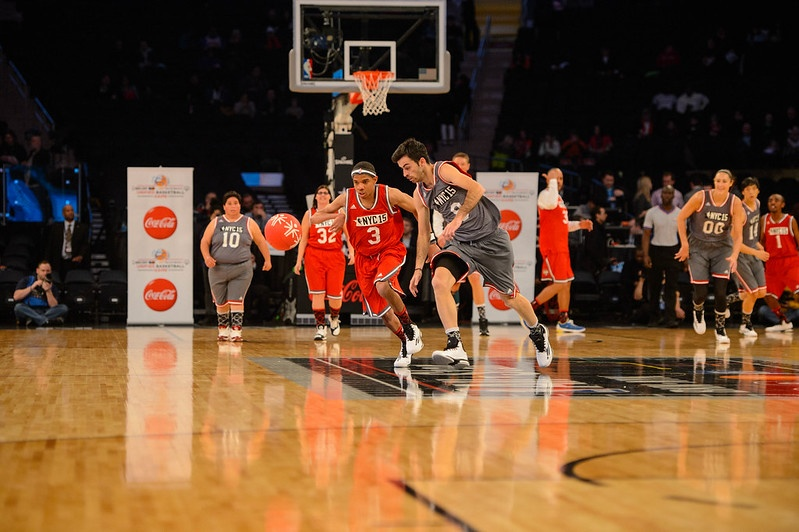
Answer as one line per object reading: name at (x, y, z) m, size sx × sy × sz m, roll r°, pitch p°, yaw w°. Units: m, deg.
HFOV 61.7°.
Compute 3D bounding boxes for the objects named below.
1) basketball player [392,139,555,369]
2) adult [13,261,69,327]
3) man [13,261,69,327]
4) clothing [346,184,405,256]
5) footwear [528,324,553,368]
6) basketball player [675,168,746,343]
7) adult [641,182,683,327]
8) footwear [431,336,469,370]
basketball player at (0.588, -0.094, 5.911) m, size 1.314 × 1.429 × 0.595 m, roll 2°, pitch -1°, yaw -29°
adult at (-5.636, 0.427, 10.508) m, size 0.879 × 1.062 × 0.582 m, roll 2°, pitch -1°, yaw -3°
man at (-5.707, 0.445, 10.678) m, size 1.037 × 1.312 × 0.956 m, roll 2°, pitch 0°, yaw -30°
clothing at (-0.230, -0.434, 6.339) m, size 0.642 × 0.793 × 0.455 m, roll -5°, pitch 5°, yaw 6°
footwear at (1.320, 0.764, 6.301) m, size 0.139 × 0.386 × 0.239 m, roll -21°, pitch -15°, yaw 33°
basketball player at (4.053, -0.155, 8.747) m, size 0.782 × 2.237 × 0.871 m, roll 1°, pitch -1°, yaw 27°
adult at (4.168, -0.190, 10.497) m, size 0.656 × 2.081 × 0.471 m, roll 0°, pitch 4°, yaw 23°
footwear at (0.471, 0.764, 5.939) m, size 0.277 × 0.204 × 0.473 m, roll 2°, pitch -1°, yaw 10°
